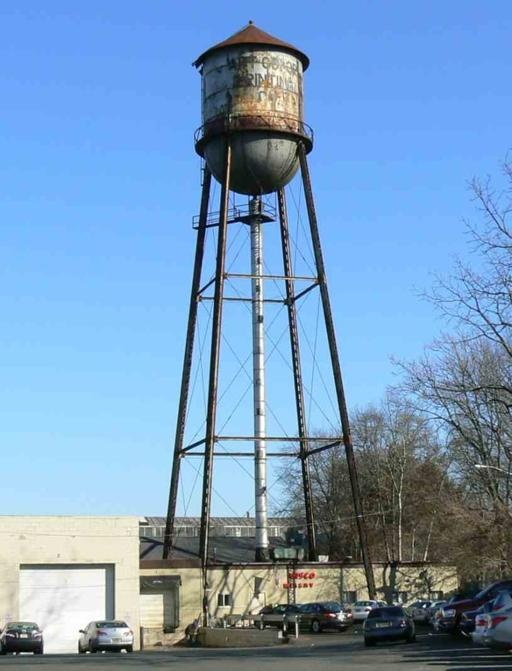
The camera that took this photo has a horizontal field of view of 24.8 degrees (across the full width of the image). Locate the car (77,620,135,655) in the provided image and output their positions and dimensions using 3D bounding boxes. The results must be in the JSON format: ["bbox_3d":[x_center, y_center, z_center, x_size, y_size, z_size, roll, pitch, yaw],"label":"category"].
[{"bbox_3d":[-4.603,9.412,36.188,1.163,1.113,3.138,3,-18,-19],"label":"car"}]
